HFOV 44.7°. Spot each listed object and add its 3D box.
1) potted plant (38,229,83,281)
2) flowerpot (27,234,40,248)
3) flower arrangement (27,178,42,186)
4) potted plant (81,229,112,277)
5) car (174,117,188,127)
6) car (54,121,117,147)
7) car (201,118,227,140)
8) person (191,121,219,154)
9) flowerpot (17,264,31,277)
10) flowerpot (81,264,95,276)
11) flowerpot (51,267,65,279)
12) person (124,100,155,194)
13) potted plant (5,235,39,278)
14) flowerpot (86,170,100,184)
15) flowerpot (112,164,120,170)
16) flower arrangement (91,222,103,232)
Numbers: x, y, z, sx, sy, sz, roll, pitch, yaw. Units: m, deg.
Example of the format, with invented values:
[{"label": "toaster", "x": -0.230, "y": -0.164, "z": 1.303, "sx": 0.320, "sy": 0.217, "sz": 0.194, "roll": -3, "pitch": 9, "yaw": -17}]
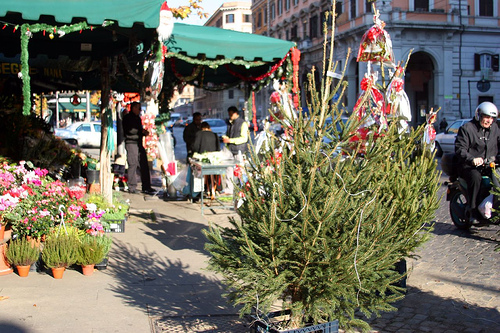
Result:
[{"label": "potted plant", "x": -2.879, "y": 1.297, "z": 9.309, "sx": 0.586, "sy": 0.631, "sz": 0.649, "roll": 11, "pitch": 14, "yaw": 44}, {"label": "flowerpot", "x": -3.346, "y": 1.143, "z": 9.414, "sx": 0.147, "sy": 0.184, "sz": 0.180, "roll": 2, "pitch": 5, "yaw": -5}, {"label": "flower arrangement", "x": -3.374, "y": 0.226, "z": 9.509, "sx": 0.142, "sy": 0.077, "sz": 0.117, "roll": 12, "pitch": 0, "yaw": -4}, {"label": "potted plant", "x": -2.378, "y": 1.275, "z": 9.512, "sx": 0.568, "sy": 0.743, "sz": 0.549, "roll": 5, "pitch": 8, "yaw": 3}, {"label": "car", "x": -9.021, "y": -5.959, "z": 79.059, "sx": 1.444, "sy": 1.116, "sz": 2.302, "roll": 1, "pitch": 8, "yaw": 8}, {"label": "car", "x": -9.622, "y": -1.879, "z": 34.696, "sx": 2.088, "sy": 1.443, "sz": 0.865, "roll": -2, "pitch": 10, "yaw": -16}, {"label": "car", "x": -2.040, "y": -2.646, "z": 38.243, "sx": 1.449, "sy": 1.567, "sz": 3.248, "roll": -2, "pitch": 0, "yaw": -14}, {"label": "person", "x": -1.010, "y": -0.874, "z": 15.007, "sx": 0.627, "sy": 0.546, "sz": 1.441, "roll": 2, "pitch": -19, "yaw": 4}, {"label": "flowerpot", "x": -3.392, "y": 1.552, "z": 9.107, "sx": 0.150, "sy": 0.135, "sz": 0.158, "roll": 2, "pitch": -8, "yaw": -12}, {"label": "flowerpot", "x": -2.465, "y": 1.556, "z": 9.279, "sx": 0.147, "sy": 0.129, "sz": 0.158, "roll": 0, "pitch": -3, "yaw": 5}, {"label": "flowerpot", "x": -2.864, "y": 1.571, "z": 9.084, "sx": 0.147, "sy": 0.133, "sz": 0.158, "roll": 1, "pitch": -3, "yaw": 5}, {"label": "person", "x": -2.953, "y": -0.514, "z": 15.988, "sx": 0.584, "sy": 2.481, "sz": 0.739, "roll": 3, "pitch": 10, "yaw": 17}, {"label": "potted plant", "x": -3.468, "y": 1.327, "z": 9.229, "sx": 0.531, "sy": 0.552, "sz": 0.431, "roll": 7, "pitch": 12, "yaw": 32}, {"label": "flowerpot", "x": -3.944, "y": 0.199, "z": 15.387, "sx": 0.404, "sy": 0.377, "sz": 0.397, "roll": 1, "pitch": -1, "yaw": 30}, {"label": "flowerpot", "x": -3.721, "y": -0.032, "z": 16.868, "sx": 0.116, "sy": 0.177, "sz": 0.300, "roll": -8, "pitch": 14, "yaw": -43}, {"label": "flower arrangement", "x": -2.443, "y": 0.949, "z": 9.726, "sx": 0.155, "sy": 0.167, "sz": 0.130, "roll": 2, "pitch": 10, "yaw": 4}]
